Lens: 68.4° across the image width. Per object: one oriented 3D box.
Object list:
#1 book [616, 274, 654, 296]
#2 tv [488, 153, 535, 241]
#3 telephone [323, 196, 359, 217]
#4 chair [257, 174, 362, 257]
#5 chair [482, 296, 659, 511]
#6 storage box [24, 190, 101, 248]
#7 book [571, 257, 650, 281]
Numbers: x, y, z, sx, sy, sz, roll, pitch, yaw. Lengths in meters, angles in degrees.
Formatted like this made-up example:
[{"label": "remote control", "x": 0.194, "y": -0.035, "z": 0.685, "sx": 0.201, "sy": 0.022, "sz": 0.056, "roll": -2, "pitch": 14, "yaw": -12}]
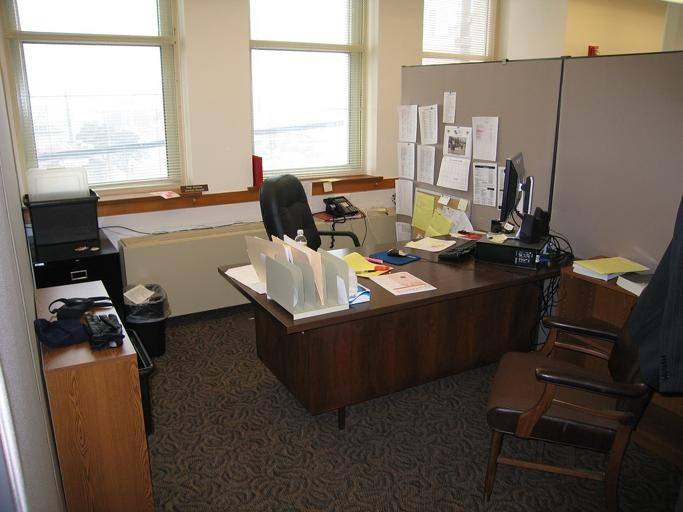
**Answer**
[{"label": "book", "x": 1.631, "y": 0.151, "z": 2.815, "sx": 0.192, "sy": 0.048, "sz": 0.192, "roll": 10, "pitch": 26, "yaw": 39}, {"label": "tv", "x": 1.157, "y": -0.391, "z": 3.301, "sx": 0.153, "sy": 0.464, "sz": 0.448, "roll": 8, "pitch": 16, "yaw": 25}, {"label": "telephone", "x": -0.016, "y": -0.541, "z": 4.912, "sx": 0.227, "sy": 0.131, "sz": 0.240, "roll": -11, "pitch": 24, "yaw": -34}, {"label": "chair", "x": -0.171, "y": -0.300, "z": 3.740, "sx": 0.494, "sy": 0.865, "sz": 0.556, "roll": 4, "pitch": 19, "yaw": 23}, {"label": "chair", "x": 1.112, "y": 0.802, "z": 2.589, "sx": 0.672, "sy": 0.877, "sz": 0.654, "roll": 5, "pitch": 23, "yaw": 21}, {"label": "storage box", "x": -1.954, "y": -0.272, "z": 3.628, "sx": 0.479, "sy": 0.330, "sz": 0.393, "roll": -8, "pitch": 20, "yaw": -27}, {"label": "book", "x": 1.617, "y": 0.056, "z": 3.062, "sx": 0.427, "sy": 0.061, "sz": 0.292, "roll": -12, "pitch": 23, "yaw": -18}]
